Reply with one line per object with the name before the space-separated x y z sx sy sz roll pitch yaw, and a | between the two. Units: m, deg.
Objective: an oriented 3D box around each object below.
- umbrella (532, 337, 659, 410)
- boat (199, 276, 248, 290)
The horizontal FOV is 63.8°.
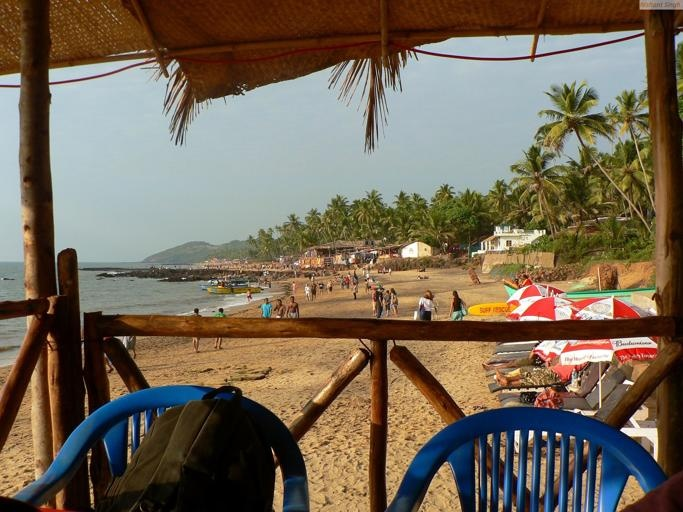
umbrella | 2.750 1.307 6.028 1.121 0.832 1.203 -15 -6 17
boat | -14.320 3.354 66.724 4.135 1.149 1.333 0 -4 -36
